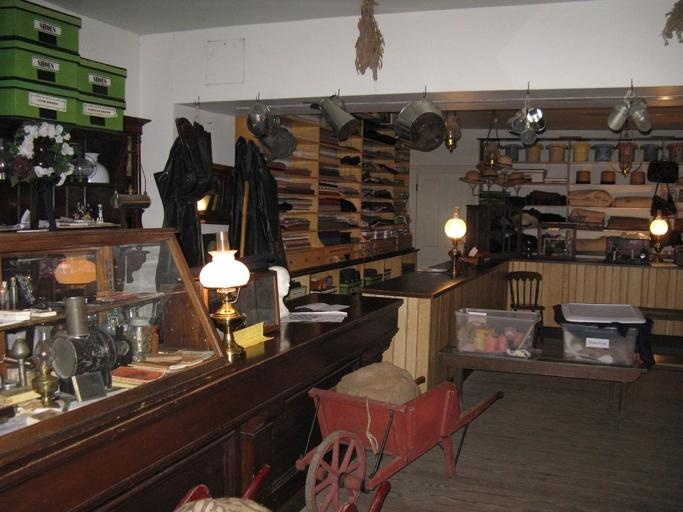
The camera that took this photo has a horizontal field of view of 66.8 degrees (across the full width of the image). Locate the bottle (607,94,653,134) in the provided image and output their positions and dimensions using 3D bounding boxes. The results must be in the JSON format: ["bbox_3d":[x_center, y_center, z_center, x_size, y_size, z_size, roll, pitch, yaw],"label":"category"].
[{"bbox_3d":[2.418,-1.203,4.298,0.282,0.316,0.518,5,7,34],"label":"bottle"}]

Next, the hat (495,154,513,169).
[{"bbox_3d":[2.552,-1.485,8.093,0.232,0.184,0.594,2,6,17],"label":"hat"}]

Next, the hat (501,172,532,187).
[{"bbox_3d":[2.843,-1.270,8.578,0.283,0.117,0.310,-10,7,-32],"label":"hat"}]

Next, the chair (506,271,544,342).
[{"bbox_3d":[2.383,0.680,6.755,0.527,0.870,0.501,4,14,41],"label":"chair"}]

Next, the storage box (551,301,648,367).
[{"bbox_3d":[2.105,0.608,4.116,0.657,0.292,0.547,1,4,20],"label":"storage box"}]

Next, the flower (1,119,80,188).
[{"bbox_3d":[-2.064,-0.720,3.519,0.366,0.463,0.683,-3,7,-32],"label":"flower"}]

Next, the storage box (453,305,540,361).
[{"bbox_3d":[1.262,0.621,4.206,0.596,0.267,0.378,0,2,15],"label":"storage box"}]

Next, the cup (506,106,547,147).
[{"bbox_3d":[1.642,-1.166,4.558,0.268,0.337,0.486,4,7,29],"label":"cup"}]

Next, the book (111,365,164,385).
[{"bbox_3d":[-0.755,0.439,1.901,0.090,0.022,0.093,5,3,17],"label":"book"}]

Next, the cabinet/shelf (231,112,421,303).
[{"bbox_3d":[-0.174,-0.598,5.939,0.583,1.577,2.792,-1,5,25],"label":"cabinet/shelf"}]

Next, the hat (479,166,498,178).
[{"bbox_3d":[2.349,-1.356,8.267,0.277,0.107,0.272,-2,6,-9],"label":"hat"}]

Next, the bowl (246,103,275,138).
[{"bbox_3d":[-0.688,-1.197,4.589,0.215,0.298,0.247,3,13,7],"label":"bowl"}]

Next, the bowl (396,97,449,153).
[{"bbox_3d":[0.695,-1.171,4.531,0.420,0.442,0.372,1,6,7],"label":"bowl"}]

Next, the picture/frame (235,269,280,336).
[{"bbox_3d":[-0.424,0.252,2.923,0.312,0.288,0.182,-9,-6,32],"label":"picture/frame"}]

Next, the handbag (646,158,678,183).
[{"bbox_3d":[4.870,-1.294,7.821,0.461,0.432,0.180,4,11,19],"label":"handbag"}]

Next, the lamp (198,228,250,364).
[{"bbox_3d":[-0.538,0.179,2.432,0.354,0.566,0.348,-3,5,-7],"label":"lamp"}]

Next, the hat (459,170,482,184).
[{"bbox_3d":[2.118,-1.295,8.470,0.302,0.135,0.310,9,8,20],"label":"hat"}]

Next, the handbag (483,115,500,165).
[{"bbox_3d":[2.355,-1.812,8.041,0.288,0.798,0.284,13,19,31],"label":"handbag"}]

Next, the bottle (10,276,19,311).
[{"bbox_3d":[-1.046,0.117,1.654,0.021,0.110,0.028,-5,8,-40],"label":"bottle"}]
